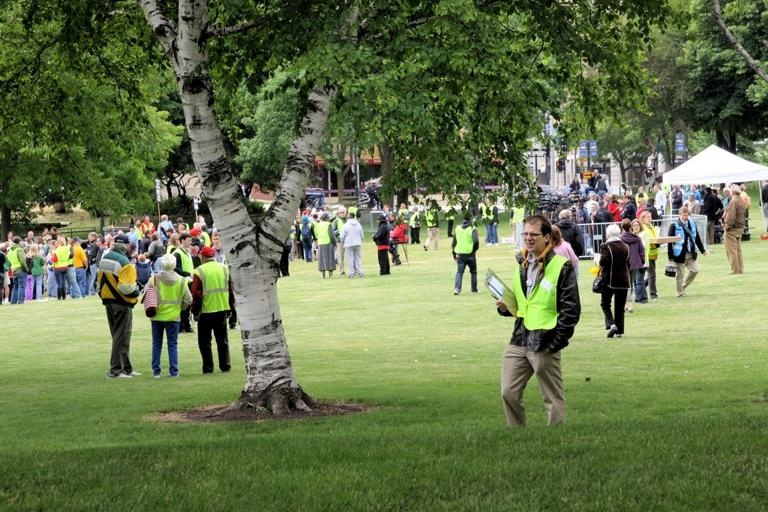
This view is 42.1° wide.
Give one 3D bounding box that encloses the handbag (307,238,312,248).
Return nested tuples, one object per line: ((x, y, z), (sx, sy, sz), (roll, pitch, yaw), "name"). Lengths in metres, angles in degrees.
((-3.349, -0.556, 43.188), (0.169, 0.357, 0.556), (-2, -1, -5), "handbag")

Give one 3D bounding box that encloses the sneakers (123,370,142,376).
((-4.887, 2.221, 18.912), (0.290, 0.123, 0.103), (0, 5, -28), "sneakers")

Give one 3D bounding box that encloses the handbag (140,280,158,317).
((-4.450, 0.817, 18.580), (0.284, 0.520, 0.456), (-2, -1, -14), "handbag")

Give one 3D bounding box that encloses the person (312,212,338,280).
((-2.150, -0.413, 35.031), (0.752, 2.166, 0.722), (-1, 4, 15), "person")

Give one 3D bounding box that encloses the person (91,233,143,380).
((-5.109, 0.926, 18.858), (0.766, 2.095, 0.891), (-2, -1, -16), "person")

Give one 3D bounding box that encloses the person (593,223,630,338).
((4.766, 0.495, 20.936), (0.736, 2.279, 1.076), (-3, -1, 12), "person")

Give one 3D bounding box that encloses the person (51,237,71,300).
((-10.999, 0.388, 33.340), (0.627, 1.589, 1.194), (-2, -1, -20), "person")

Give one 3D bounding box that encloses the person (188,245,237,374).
((-3.402, 1.025, 19.255), (0.774, 1.970, 1.136), (-2, -1, -11), "person")

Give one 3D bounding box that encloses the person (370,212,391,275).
((-0.160, -0.391, 34.553), (0.522, 1.844, 1.299), (-2, -1, 1), "person")

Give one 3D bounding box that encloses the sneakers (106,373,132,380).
((-5.068, 2.232, 18.684), (0.439, 0.175, 0.157), (0, -1, -13), "sneakers")

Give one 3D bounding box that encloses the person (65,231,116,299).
((-8.959, 0.326, 29.642), (1.239, 1.205, 3.637), (18, -14, -26), "person")

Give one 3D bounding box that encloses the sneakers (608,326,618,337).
((4.690, 1.536, 20.512), (0.110, 0.123, 0.308), (-1, 25, 10), "sneakers")
